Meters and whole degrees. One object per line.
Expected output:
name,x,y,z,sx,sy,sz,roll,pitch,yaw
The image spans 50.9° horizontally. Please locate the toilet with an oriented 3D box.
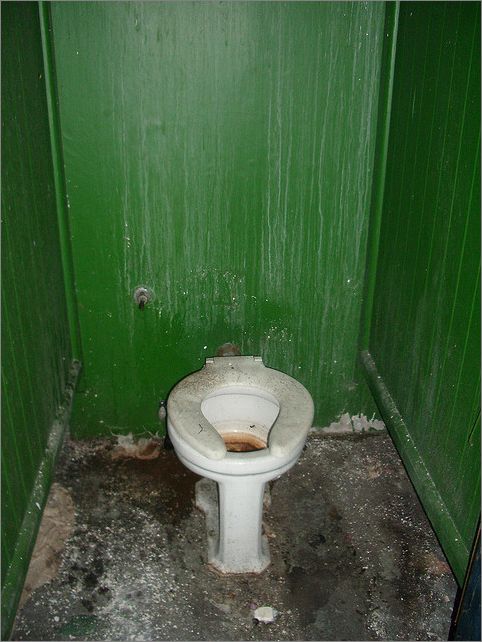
toilet,-0.006,0.373,1.557,0.401,0.678,0.533,-1,36,-1
